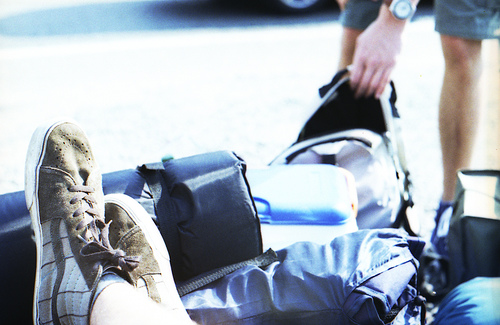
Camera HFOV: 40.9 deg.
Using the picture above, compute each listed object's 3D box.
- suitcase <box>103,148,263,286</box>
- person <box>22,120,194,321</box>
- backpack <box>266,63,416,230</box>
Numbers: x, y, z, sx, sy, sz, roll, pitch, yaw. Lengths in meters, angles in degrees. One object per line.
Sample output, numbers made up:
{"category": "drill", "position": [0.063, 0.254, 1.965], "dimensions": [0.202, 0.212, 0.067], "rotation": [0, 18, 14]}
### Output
{"category": "suitcase", "position": [-0.359, 0.260, 3.137], "dimensions": [0.641, 0.654, 0.499], "rotation": [-26, -6, -20]}
{"category": "person", "position": [-0.647, 0.241, 2.883], "dimensions": [0.671, 0.847, 0.407], "rotation": [-5, 8, 2]}
{"category": "backpack", "position": [0.482, -0.092, 3.475], "dimensions": [0.643, 0.398, 1.166], "rotation": [-5, 50, 26]}
